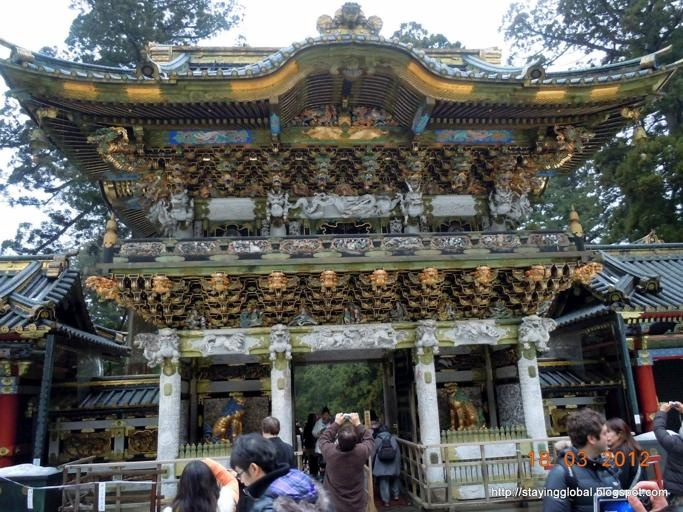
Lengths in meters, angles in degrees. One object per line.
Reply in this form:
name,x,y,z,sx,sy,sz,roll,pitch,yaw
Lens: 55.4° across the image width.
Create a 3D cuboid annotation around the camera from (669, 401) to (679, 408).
camera,5.870,2.635,11.516,0.153,0.130,0.402,-13,-22,20
